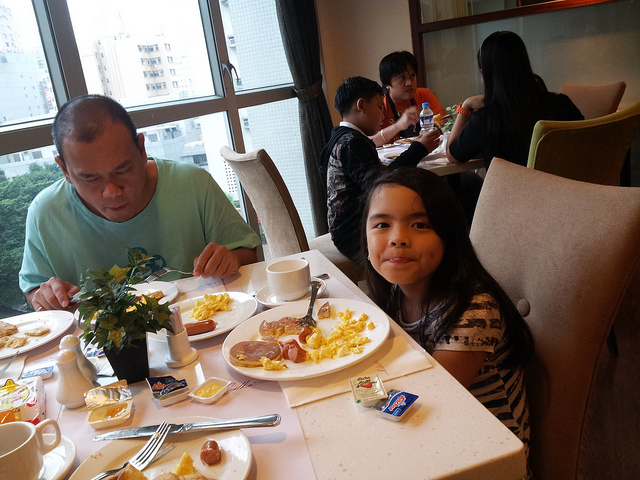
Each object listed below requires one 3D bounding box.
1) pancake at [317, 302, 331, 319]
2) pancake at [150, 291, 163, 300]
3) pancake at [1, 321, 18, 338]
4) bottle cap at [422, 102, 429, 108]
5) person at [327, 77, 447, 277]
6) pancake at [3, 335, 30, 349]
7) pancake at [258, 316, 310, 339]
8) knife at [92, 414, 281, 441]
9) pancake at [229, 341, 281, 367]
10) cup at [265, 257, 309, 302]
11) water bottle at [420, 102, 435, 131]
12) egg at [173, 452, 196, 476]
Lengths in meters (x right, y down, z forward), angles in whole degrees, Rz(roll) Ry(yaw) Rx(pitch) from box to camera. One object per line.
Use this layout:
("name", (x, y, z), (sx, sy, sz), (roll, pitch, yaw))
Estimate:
("pancake", (0.012, 0.184, 1.187), (0.034, 0.018, 0.056), (-5, 20, 9))
("pancake", (-0.471, 0.160, 1.301), (0.035, 0.010, 0.035), (0, 18, 1))
("pancake", (-0.889, 0.251, 1.282), (0.040, 0.022, 0.069), (-23, 25, -35))
("bottle cap", (0.766, -0.978, 3.256), (0.046, 0.031, 0.048), (-6, 23, -3))
("person", (0.415, -0.168, 2.692), (0.734, 1.520, 0.644), (1, 11, 9))
("pancake", (-0.829, 0.276, 1.220), (0.031, 0.008, 0.032), (3, 18, 32))
("pancake", (-0.090, 0.216, 1.142), (0.124, 0.026, 0.071), (-10, 20, -3))
("knife", (-0.249, 0.362, 0.867), (0.336, 0.020, 0.052), (-2, 10, 6))
("pancake", (-0.151, 0.258, 1.027), (0.072, 0.016, 0.059), (2, 22, 7))
("cup", (-0.093, 0.112, 1.266), (0.095, 0.090, 0.130), (-6, 15, 7))
("water bottle", (0.773, -0.886, 3.249), (0.100, 0.196, 0.372), (-3, 21, 14))
("egg", (-0.244, 0.390, 0.792), (0.026, 0.018, 0.033), (8, 37, -12))
